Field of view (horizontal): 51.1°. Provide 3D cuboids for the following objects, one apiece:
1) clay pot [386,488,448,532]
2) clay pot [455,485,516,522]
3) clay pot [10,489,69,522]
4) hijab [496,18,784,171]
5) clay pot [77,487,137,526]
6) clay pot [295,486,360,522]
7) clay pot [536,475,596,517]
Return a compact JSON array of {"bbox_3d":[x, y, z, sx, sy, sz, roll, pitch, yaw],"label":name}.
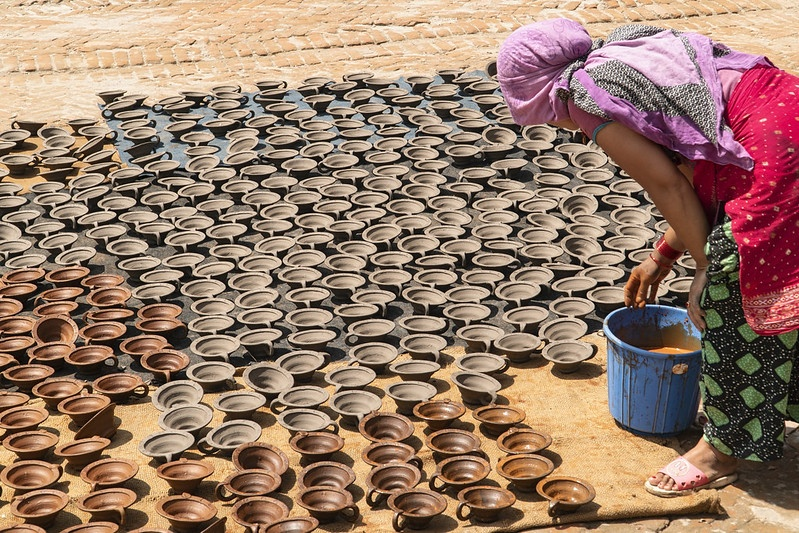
[{"bbox_3d":[0.098,1.366,4.726,0.339,0.177,0.223,-7,33,-11],"label":"clay pot"},{"bbox_3d":[0.481,1.334,4.750,0.366,0.082,0.216,-5,26,-11],"label":"clay pot"},{"bbox_3d":[-2.062,1.370,4.812,0.298,0.138,0.212,-13,33,-21],"label":"clay pot"},{"bbox_3d":[1.204,-0.886,4.362,1.625,0.461,0.759,5,43,22],"label":"hijab"},{"bbox_3d":[-1.684,1.372,4.792,0.328,0.149,0.242,-1,30,0],"label":"clay pot"},{"bbox_3d":[-0.422,1.342,4.764,0.277,0.153,0.254,-1,30,0],"label":"clay pot"},{"bbox_3d":[0.937,1.292,4.743,0.339,0.075,0.258,11,26,13],"label":"clay pot"}]
